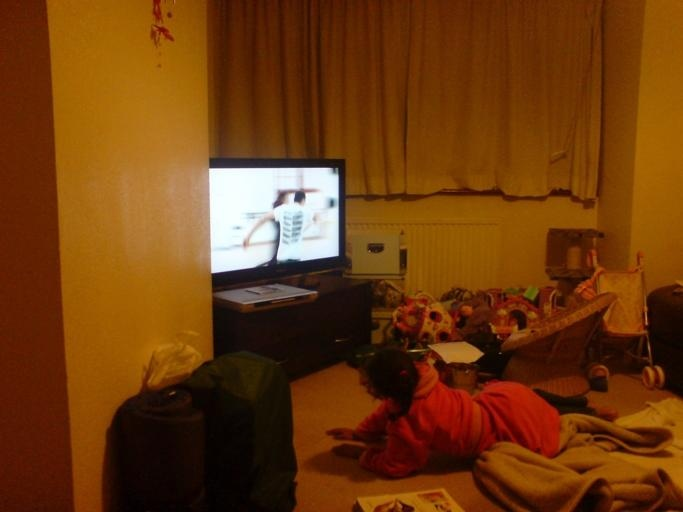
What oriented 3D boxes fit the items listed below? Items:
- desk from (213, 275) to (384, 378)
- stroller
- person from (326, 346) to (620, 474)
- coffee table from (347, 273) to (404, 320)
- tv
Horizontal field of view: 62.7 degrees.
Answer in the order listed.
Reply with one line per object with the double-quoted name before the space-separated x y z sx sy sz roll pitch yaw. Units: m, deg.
"desk" -0.266 0.457 3.447 0.547 0.542 1.085 5 10 36
"stroller" 1.619 0.358 3.552 0.398 0.885 0.977 -3 -11 19
"person" 0.548 0.664 2.569 1.200 0.525 0.473 0 17 13
"coffee table" 0.265 0.312 4.205 0.454 0.448 0.312 0 -13 9
"tv" -0.363 -0.240 3.566 1.072 0.812 0.076 -2 5 -44
